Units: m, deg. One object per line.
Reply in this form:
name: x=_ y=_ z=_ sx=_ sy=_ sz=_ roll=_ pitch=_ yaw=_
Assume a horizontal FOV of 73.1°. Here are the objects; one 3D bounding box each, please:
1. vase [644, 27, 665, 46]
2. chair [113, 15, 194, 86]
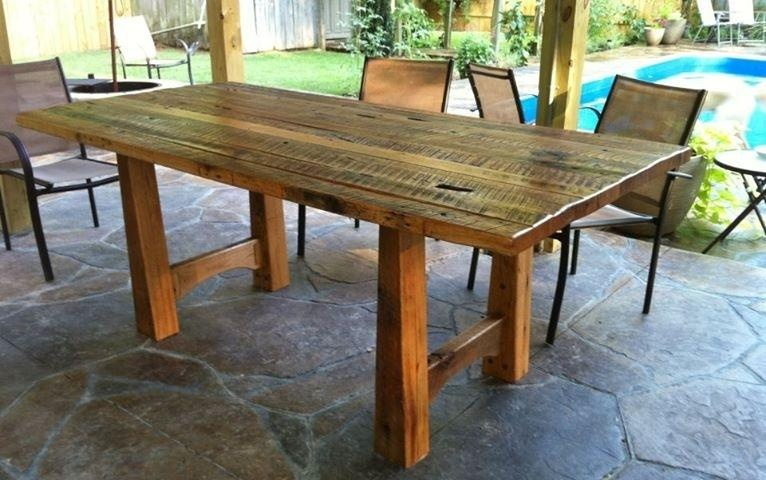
vase: x=6.380 y=-4.640 z=11.838 sx=0.592 sy=0.379 sz=0.497 roll=11 pitch=24 yaw=27
chair: x=-3.466 y=-2.669 z=7.648 sx=0.785 sy=0.728 sz=0.645 roll=10 pitch=13 yaw=-6
